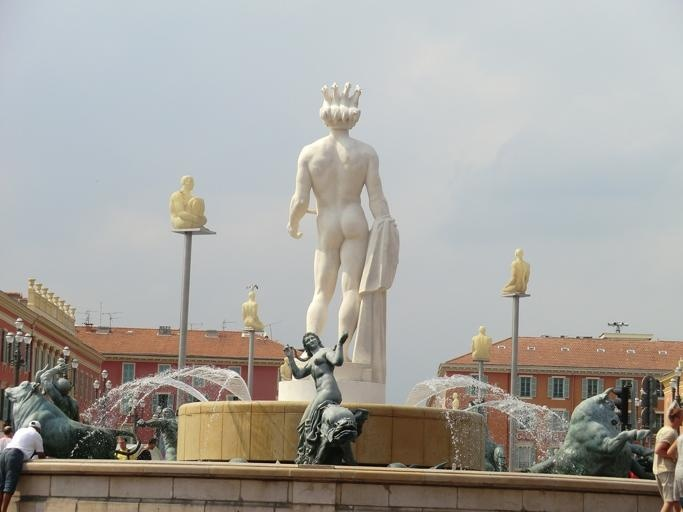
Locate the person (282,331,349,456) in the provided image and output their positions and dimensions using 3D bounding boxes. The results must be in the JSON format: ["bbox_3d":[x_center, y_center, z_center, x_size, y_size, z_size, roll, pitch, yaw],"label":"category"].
[{"bbox_3d":[-0.462,2.503,30.851,1.051,2.482,1.542,5,-15,-8],"label":"person"}]

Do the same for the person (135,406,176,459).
[{"bbox_3d":[-3.574,3.574,35.887,0.640,1.149,0.966,0,-15,12],"label":"person"}]

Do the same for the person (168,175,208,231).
[{"bbox_3d":[-3.615,-1.094,41.277,0.786,1.034,0.754,-4,-16,23],"label":"person"}]
